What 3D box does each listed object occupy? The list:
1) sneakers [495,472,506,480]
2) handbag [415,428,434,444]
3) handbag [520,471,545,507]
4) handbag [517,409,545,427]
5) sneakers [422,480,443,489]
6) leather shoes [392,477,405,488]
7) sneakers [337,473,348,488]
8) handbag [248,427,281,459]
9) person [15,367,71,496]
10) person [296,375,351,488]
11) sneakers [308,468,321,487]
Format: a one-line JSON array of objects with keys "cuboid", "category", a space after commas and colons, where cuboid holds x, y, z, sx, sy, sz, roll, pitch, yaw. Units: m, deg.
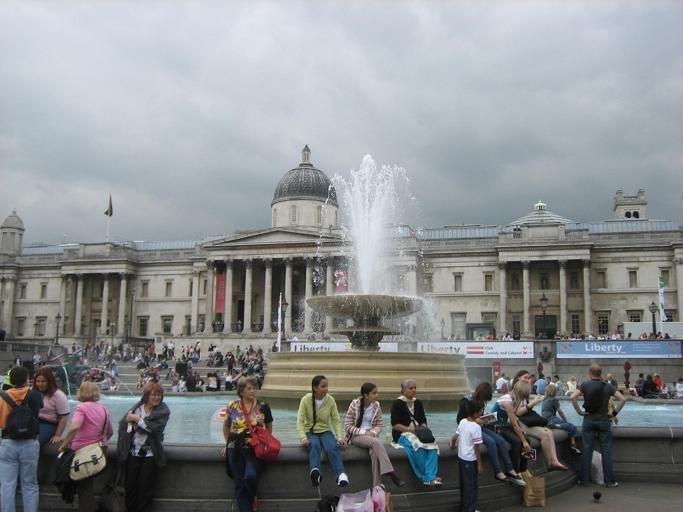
[{"cuboid": [2.482, 3.435, 11.188, 0.115, 0.145, 0.179, -7, -9, 42], "category": "sneakers"}, {"cuboid": [1.231, 2.655, 10.620, 0.218, 0.067, 0.223, 10, 15, 7], "category": "handbag"}, {"cuboid": [3.015, 3.678, 11.308, 0.324, 0.487, 0.242, -2, -7, 13], "category": "handbag"}, {"cuboid": [3.153, 2.716, 11.925, 0.311, 0.097, 0.317, 10, 0, 36], "category": "handbag"}, {"cuboid": [1.338, 3.377, 10.612, 0.296, 0.086, 0.118, -17, -19, 41], "category": "sneakers"}, {"cuboid": [0.819, 3.289, 10.433, 0.171, 0.188, 0.253, -2, -7, 9], "category": "leather shoes"}, {"cuboid": [0.017, 3.165, 10.141, 0.161, 0.226, 0.364, -1, -7, 1], "category": "sneakers"}, {"cuboid": [-1.158, 2.581, 9.984, 0.418, 0.432, 0.225, 3, 9, -24], "category": "handbag"}, {"cuboid": [-4.470, 2.443, 10.562, 0.650, 1.505, 0.821, 1, -3, 19], "category": "person"}, {"cuboid": [-0.284, 2.514, 10.324, 0.656, 1.553, 0.632, 0, -6, -5], "category": "person"}, {"cuboid": [-0.388, 3.084, 10.042, 0.101, 0.305, 0.127, 0, 21, 4], "category": "sneakers"}]
